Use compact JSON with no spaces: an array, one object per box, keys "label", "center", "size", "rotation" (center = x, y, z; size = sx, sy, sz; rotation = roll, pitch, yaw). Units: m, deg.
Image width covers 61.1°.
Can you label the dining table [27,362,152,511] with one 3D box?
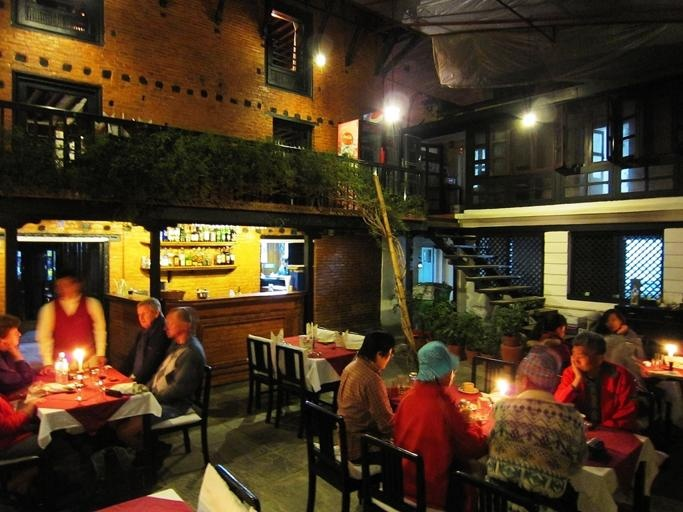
[{"label":"dining table","center":[-3.163,2.187,7.399],"size":[1.361,0.792,1.639],"rotation":[-1,5,-42]}]

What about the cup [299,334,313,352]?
[{"label":"cup","center":[-0.592,1.441,9.539],"size":[0.218,0.221,0.201],"rotation":[2,0,0]}]

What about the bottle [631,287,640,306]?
[{"label":"bottle","center":[6.110,0.815,11.987],"size":[0.163,0.302,0.304],"rotation":[7,15,27]}]

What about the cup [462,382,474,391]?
[{"label":"cup","center":[1.669,1.717,7.626],"size":[0.122,0.102,0.119],"rotation":[1,-4,0]}]

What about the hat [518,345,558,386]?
[{"label":"hat","center":[2.077,1.141,6.090],"size":[0.407,0.373,0.344],"rotation":[3,14,14]}]

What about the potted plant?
[{"label":"potted plant","center":[2.994,1.531,12.842],"size":[1.944,0.938,1.401],"rotation":[3,3,33]}]
